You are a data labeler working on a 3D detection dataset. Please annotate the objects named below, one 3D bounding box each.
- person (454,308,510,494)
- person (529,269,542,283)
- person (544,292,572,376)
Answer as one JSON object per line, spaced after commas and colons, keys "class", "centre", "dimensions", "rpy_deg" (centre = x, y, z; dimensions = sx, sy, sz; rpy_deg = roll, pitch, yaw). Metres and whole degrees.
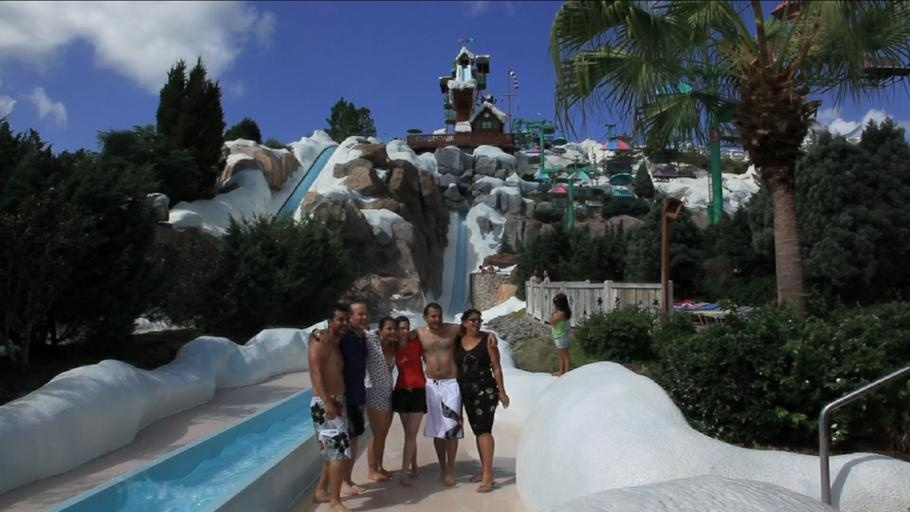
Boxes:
{"class": "person", "centre": [0.535, 2.697, 12.454], "dimensions": [0.907, 3.364, 0.627], "rpy_deg": [-1, -4, 4]}
{"class": "person", "centre": [3.818, 0.931, 30.619], "dimensions": [0.624, 0.624, 0.984], "rpy_deg": [2, 0, 8]}
{"class": "person", "centre": [2.732, 2.011, 16.910], "dimensions": [0.459, 2.057, 1.065], "rpy_deg": [-2, -4, 8]}
